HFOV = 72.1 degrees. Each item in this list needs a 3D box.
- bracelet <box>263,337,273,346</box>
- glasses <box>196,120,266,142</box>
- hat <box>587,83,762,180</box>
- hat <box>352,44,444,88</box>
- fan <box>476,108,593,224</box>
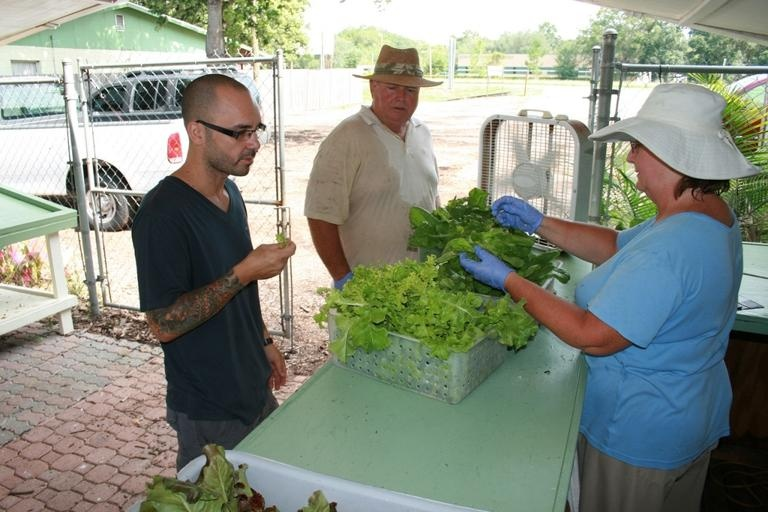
[{"bbox_3d":[-0.791,0.584,3.618,0.057,0.041,0.062,-6,-3,2],"label":"bracelet"},{"bbox_3d":[-0.905,-0.742,3.071,0.202,0.061,0.199,23,21,21],"label":"glasses"},{"bbox_3d":[1.559,-0.635,2.719,0.608,0.284,0.597,17,-3,33],"label":"hat"},{"bbox_3d":[0.136,-1.576,4.410,0.494,0.191,0.461,19,19,39],"label":"hat"},{"bbox_3d":[1.212,-0.707,4.252,0.881,1.089,0.385,13,30,33],"label":"fan"}]
